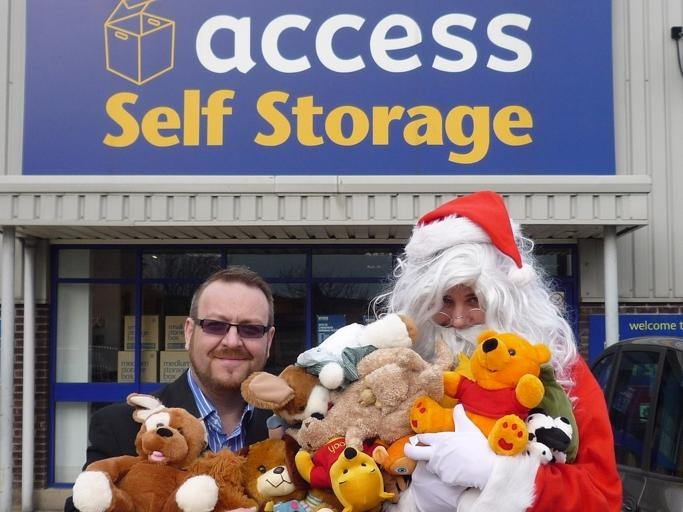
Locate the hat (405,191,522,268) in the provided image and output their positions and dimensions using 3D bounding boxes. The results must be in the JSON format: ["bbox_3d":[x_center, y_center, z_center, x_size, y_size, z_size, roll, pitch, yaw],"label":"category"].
[{"bbox_3d":[1.264,-0.206,13.064,1.039,0.621,0.775,-7,-4,12],"label":"hat"}]
